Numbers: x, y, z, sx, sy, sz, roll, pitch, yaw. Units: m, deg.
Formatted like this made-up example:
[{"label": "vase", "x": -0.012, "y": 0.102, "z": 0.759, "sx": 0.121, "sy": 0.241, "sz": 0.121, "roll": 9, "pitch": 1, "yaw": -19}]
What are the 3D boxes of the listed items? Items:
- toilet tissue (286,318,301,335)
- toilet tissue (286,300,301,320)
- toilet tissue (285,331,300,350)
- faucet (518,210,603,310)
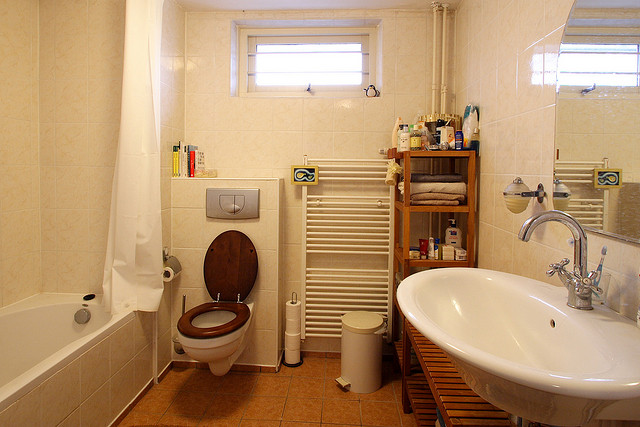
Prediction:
[{"label": "toilet tissue", "x": -0.207, "y": 0.866, "z": 3.732, "sx": 0.106, "sy": 0.117, "sz": 0.107, "roll": 2, "pitch": 4, "yaw": 35}, {"label": "toilet tissue", "x": -0.205, "y": 0.740, "z": 3.723, "sx": 0.120, "sy": 0.131, "sz": 0.117, "roll": -2, "pitch": 3, "yaw": -13}, {"label": "toilet tissue", "x": -0.213, "y": 0.980, "z": 3.740, "sx": 0.110, "sy": 0.086, "sz": 0.111, "roll": -1, "pitch": 2, "yaw": -21}, {"label": "faucet", "x": 1.099, "y": 0.212, "z": 2.246, "sx": 0.390, "sy": 0.452, "sz": 0.131, "roll": -1, "pitch": 9, "yaw": 3}]
